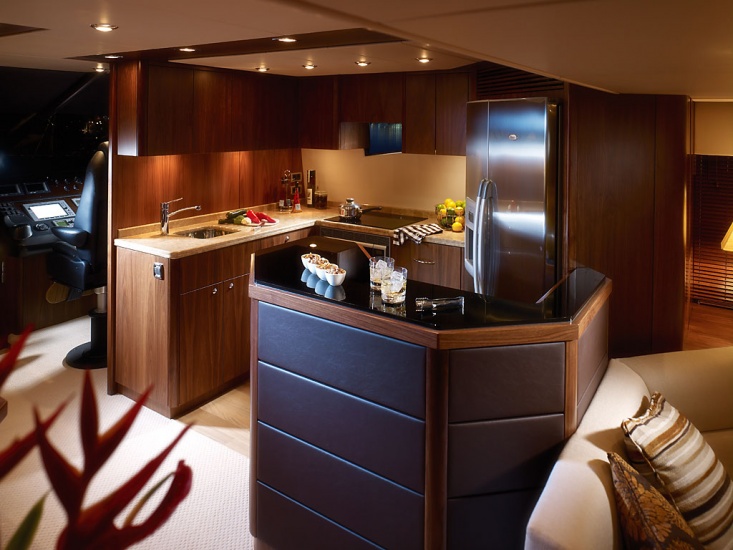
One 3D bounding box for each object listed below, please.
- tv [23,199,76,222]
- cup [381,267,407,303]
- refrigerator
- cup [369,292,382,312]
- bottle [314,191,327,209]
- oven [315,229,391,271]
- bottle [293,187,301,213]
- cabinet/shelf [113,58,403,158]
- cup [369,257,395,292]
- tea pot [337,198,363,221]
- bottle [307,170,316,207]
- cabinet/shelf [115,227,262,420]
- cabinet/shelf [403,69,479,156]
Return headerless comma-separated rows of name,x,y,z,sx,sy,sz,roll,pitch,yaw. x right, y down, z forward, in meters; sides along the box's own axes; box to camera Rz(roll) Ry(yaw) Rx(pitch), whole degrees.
tv,-2.867,-0.574,4.872,0.205,0.147,0.406,13,19,31
cup,0.122,0.030,2.418,0.120,0.164,0.143,8,21,17
refrigerator,0.897,-0.465,3.490,0.303,1.296,0.892,-1,14,-18
cup,0.040,0.124,2.348,0.046,0.086,0.046,0,11,0
bottle,-0.466,-0.759,5.432,0.131,0.164,0.136,-8,16,-32
oven,-0.261,-0.181,4.415,0.615,0.240,0.593,8,-4,-25
bottle,-0.678,-0.725,5.223,0.064,0.210,0.199,1,15,-8
cabinet/shelf,-0.943,-1.375,4.502,2.161,0.728,0.748,-5,17,-28
cup,0.064,-0.005,2.455,0.111,0.152,0.130,4,5,18
tea pot,-0.144,-0.589,4.969,0.181,0.196,0.237,4,6,29
bottle,-0.560,-0.884,5.469,0.087,0.350,0.152,1,13,-8
cabinet/shelf,-1.351,0.289,4.396,0.723,1.258,1.292,8,13,18
cabinet/shelf,0.619,-1.335,4.350,0.646,0.741,0.238,8,12,35
